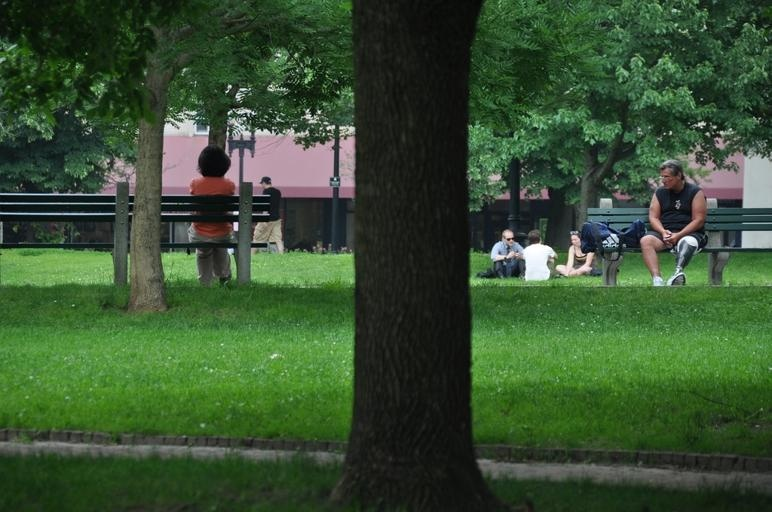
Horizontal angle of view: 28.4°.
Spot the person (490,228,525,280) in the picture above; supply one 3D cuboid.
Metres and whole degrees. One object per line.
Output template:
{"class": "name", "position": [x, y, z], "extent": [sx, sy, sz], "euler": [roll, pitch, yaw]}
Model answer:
{"class": "person", "position": [2.870, 0.002, 36.394], "extent": [0.965, 1.355, 1.049], "euler": [-1, -4, -8]}

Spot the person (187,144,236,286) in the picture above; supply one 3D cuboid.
{"class": "person", "position": [-3.469, -0.828, 30.549], "extent": [0.857, 2.806, 0.846], "euler": [0, 2, -6]}

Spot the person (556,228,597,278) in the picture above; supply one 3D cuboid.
{"class": "person", "position": [4.535, -0.052, 36.892], "extent": [1.183, 1.234, 1.074], "euler": [-3, -7, 29]}
